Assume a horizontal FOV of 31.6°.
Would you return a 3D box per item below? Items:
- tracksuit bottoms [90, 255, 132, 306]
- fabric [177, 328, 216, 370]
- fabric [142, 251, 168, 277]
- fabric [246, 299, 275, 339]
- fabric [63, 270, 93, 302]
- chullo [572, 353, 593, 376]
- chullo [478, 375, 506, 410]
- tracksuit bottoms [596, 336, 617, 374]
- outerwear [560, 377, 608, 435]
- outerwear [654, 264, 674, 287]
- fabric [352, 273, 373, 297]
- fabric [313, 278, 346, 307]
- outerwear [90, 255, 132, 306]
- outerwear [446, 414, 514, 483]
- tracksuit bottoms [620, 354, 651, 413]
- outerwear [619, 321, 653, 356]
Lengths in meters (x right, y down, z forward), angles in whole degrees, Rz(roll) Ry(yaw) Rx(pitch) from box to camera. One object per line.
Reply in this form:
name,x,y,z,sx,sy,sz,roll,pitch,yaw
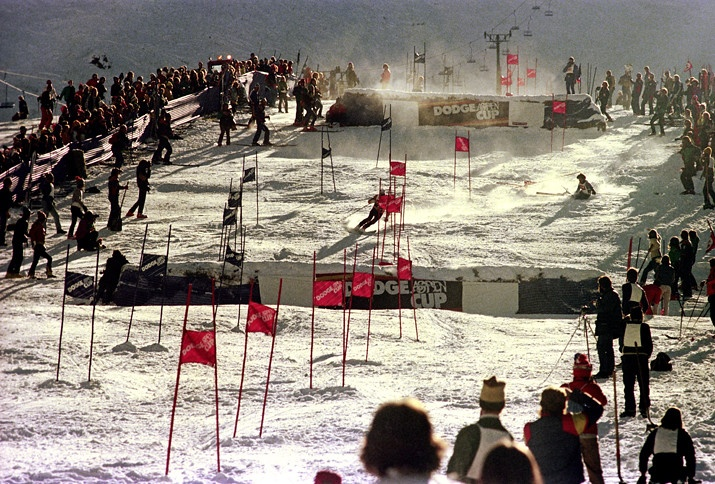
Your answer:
tracksuit bottoms,-8.983,1.467,45.968,0.834,2.373,0.835,38,22,21
fabric,-4.962,3.271,39.157,1.095,1.038,0.517,2,-4,-6
fabric,-7.416,0.830,45.953,1.099,0.826,0.147,1,23,3
fabric,-3.148,2.484,41.378,0.891,0.989,2.221,2,-3,-4
fabric,-9.847,1.579,44.309,1.544,1.171,0.107,8,32,-33
chullo,6.816,3.781,38.370,0.530,0.692,0.359,2,-4,10
chullo,4.058,4.388,36.235,0.929,0.889,0.996,17,-11,-6
tracksuit bottoms,8.116,3.770,41.477,0.531,1.423,0.666,2,-4,9
outerwear,6.994,4.971,38.506,1.025,1.561,1.740,-2,-2,-34
outerwear,11.078,1.194,45.684,0.729,0.799,0.370,2,-4,-5
fabric,0.155,1.527,44.936,0.715,0.835,0.917,2,-3,-1
fabric,-1.039,1.735,43.227,1.293,0.830,0.729,3,-4,-21
outerwear,-8.958,1.273,45.827,0.988,1.965,1.234,3,-4,-12
outerwear,3.451,5.941,35.688,1.958,1.495,0.966,12,1,8
tracksuit bottoms,8.882,4.606,40.340,0.882,1.984,0.969,1,-4,12
outerwear,8.781,3.068,40.028,1.306,1.235,0.728,0,6,7
